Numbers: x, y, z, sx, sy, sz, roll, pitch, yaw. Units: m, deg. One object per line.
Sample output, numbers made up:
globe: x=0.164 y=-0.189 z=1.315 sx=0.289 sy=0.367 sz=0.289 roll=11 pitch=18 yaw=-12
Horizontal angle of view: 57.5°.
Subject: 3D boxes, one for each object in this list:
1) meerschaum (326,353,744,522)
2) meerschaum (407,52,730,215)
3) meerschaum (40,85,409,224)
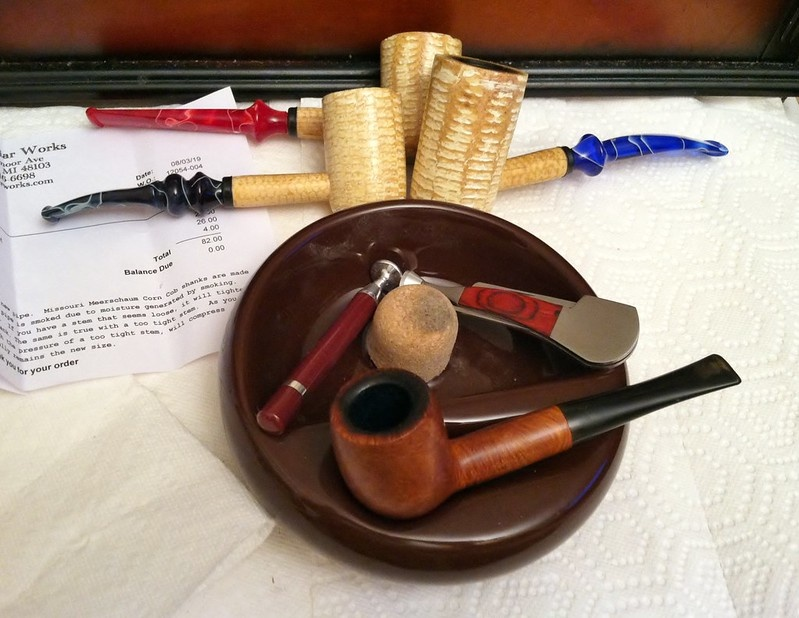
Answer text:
meerschaum: x=0.117 y=0.124 z=0.691 sx=0.296 sy=0.095 sz=0.079 roll=-13 pitch=45 yaw=-13
meerschaum: x=0.222 y=-0.217 z=0.942 sx=0.417 sy=0.195 sz=0.131 roll=12 pitch=30 yaw=-1
meerschaum: x=-0.216 y=-0.184 z=0.956 sx=0.454 sy=0.108 sz=0.188 roll=-3 pitch=77 yaw=-3
